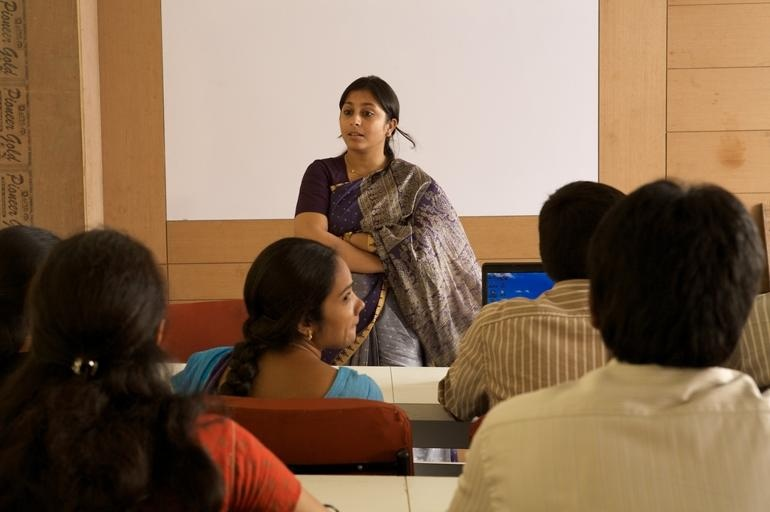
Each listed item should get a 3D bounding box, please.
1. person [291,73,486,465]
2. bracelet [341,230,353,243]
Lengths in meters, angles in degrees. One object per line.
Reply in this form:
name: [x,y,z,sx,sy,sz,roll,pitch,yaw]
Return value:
person: [0.034,0.028,3.089,0.727,1.517,0.465,-4,23,-2]
bracelet: [-0.149,-0.081,2.925,0.047,0.064,0.035,-2,9,1]
